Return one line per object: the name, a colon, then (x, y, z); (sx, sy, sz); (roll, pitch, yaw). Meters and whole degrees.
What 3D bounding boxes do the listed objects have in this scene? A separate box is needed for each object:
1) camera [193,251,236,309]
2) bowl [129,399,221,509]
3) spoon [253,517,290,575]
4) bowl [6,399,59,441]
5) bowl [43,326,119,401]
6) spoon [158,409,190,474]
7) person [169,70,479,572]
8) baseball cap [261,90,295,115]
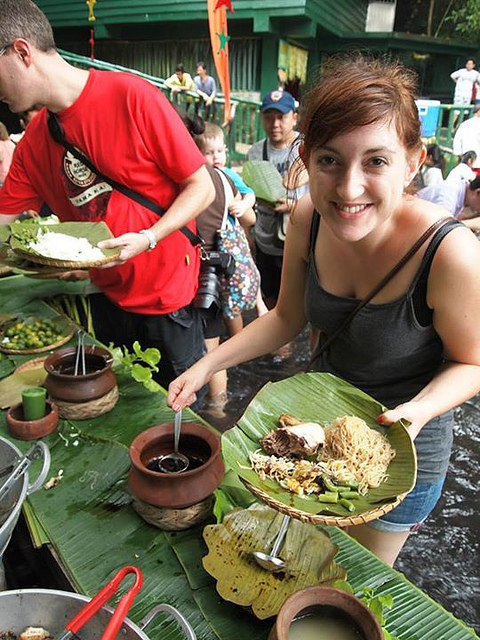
camera: (-0.213, -0.250, 3.300); (0.353, 0.330, 0.145); (13, -24, -43)
bowl: (-0.177, 0.396, 1.676); (0.294, 0.148, 0.410); (8, 26, 16)
spoon: (0.086, 0.609, 1.429); (0.067, 0.043, 0.147); (5, 25, 22)
bowl: (-0.808, 0.389, 2.065); (0.188, 0.097, 0.165); (-4, 24, -19)
bowl: (-0.690, 0.184, 2.225); (0.284, 0.139, 0.376); (1, 28, -17)
spoon: (-0.208, 0.382, 1.676); (0.072, 0.022, 0.205); (2, 47, -2)
person: (0.352, 0.074, 1.760); (0.836, 1.649, 0.671); (21, 29, 32)
baseball cap: (0.368, -2.130, 5.150); (0.239, 0.148, 0.306); (7, 24, 20)
